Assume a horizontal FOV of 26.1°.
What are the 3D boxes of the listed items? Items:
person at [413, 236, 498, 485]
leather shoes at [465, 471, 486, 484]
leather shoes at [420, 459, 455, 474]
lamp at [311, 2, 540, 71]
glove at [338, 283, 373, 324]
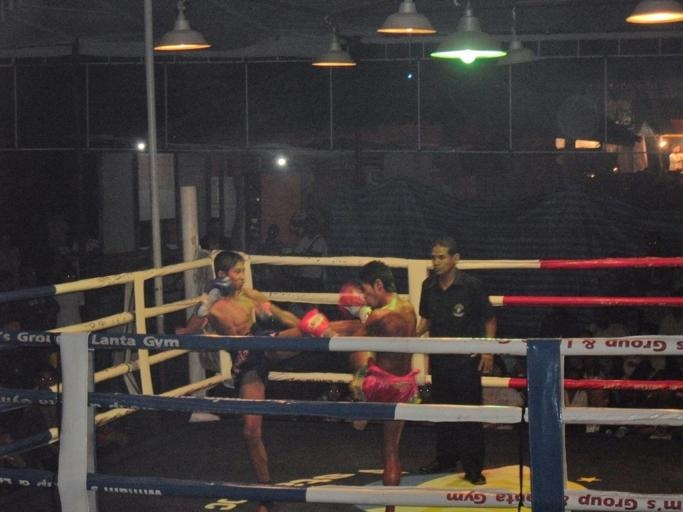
[{"bbox_3d":[1.079,0.974,13.499,0.705,2.269,0.463,-1,-13,2],"label":"person"},{"bbox_3d":[1.233,2.005,13.176,0.198,0.078,0.092,-4,-4,40],"label":"leather shoes"},{"bbox_3d":[0.898,1.948,13.518,0.380,0.149,0.124,1,-5,6],"label":"leather shoes"},{"bbox_3d":[0.712,-2.165,14.357,1.687,0.569,1.174,2,1,9],"label":"lamp"},{"bbox_3d":[0.144,0.460,14.684,0.286,0.359,0.184,-25,-40,-26],"label":"glove"}]
